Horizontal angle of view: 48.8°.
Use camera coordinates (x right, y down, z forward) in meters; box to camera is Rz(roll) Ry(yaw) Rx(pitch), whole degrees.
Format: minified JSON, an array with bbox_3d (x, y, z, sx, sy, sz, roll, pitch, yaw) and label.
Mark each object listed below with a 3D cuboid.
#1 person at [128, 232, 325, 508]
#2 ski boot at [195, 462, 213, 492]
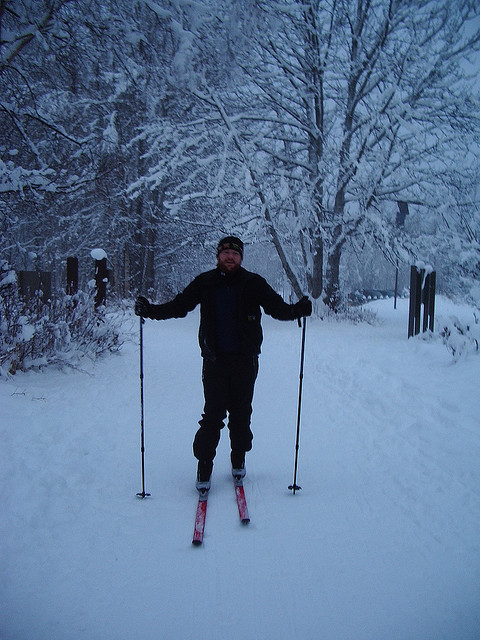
[{"bbox_3d":[-0.106,0.392,4.221,1.101,2.335,0.721,1,23,0],"label":"person"},{"bbox_3d":[-0.266,1.193,3.951,0.108,0.252,0.220,0,7,-5],"label":"ski boot"}]
